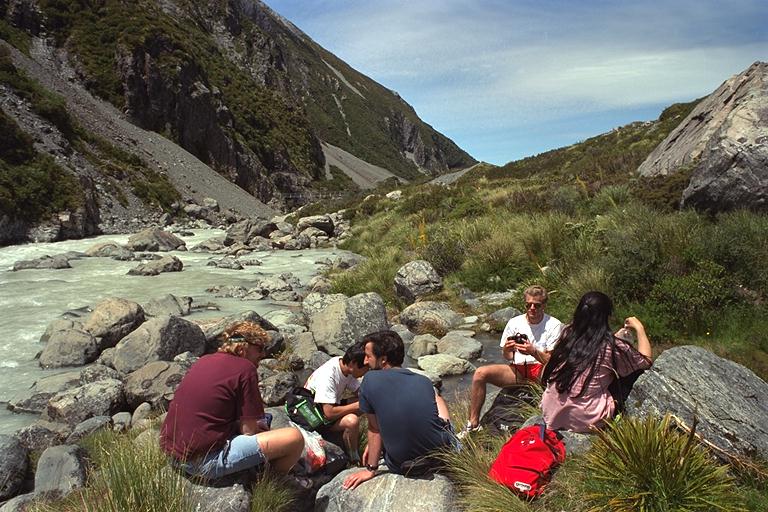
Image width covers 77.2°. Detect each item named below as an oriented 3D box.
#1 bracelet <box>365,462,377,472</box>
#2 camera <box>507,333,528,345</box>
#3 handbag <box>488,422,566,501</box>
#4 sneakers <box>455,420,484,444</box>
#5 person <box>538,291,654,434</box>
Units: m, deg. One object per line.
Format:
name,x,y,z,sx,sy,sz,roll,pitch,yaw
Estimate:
bracelet,-0.169,3.076,6.972,0.103,0.059,0.081,10,-2,-16
camera,2.188,1.336,7.892,0.321,0.133,0.270,-5,13,15
handbag,2.022,2.709,6.577,0.860,0.434,1.193,2,26,37
sneakers,1.326,2.775,7.602,0.650,0.263,0.193,15,-11,-42
person,3.000,1.496,6.866,1.509,1.894,0.662,-5,13,13
